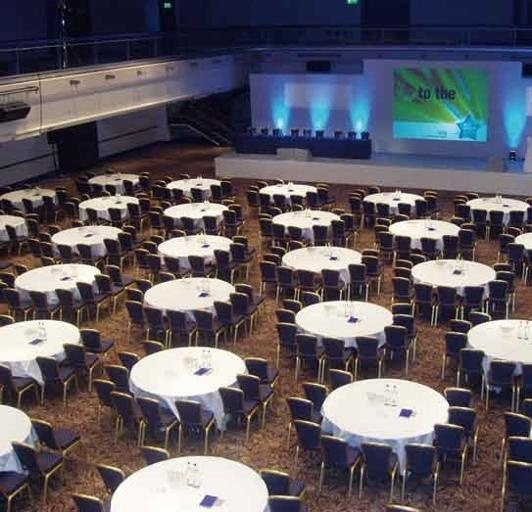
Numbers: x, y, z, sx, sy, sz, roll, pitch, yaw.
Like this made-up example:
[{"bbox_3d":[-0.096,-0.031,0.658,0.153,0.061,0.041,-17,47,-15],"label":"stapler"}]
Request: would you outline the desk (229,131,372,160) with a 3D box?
[{"bbox_3d":[1.348,-3.929,23.515,4.836,0.904,0.638,3,13,20],"label":"desk"}]
